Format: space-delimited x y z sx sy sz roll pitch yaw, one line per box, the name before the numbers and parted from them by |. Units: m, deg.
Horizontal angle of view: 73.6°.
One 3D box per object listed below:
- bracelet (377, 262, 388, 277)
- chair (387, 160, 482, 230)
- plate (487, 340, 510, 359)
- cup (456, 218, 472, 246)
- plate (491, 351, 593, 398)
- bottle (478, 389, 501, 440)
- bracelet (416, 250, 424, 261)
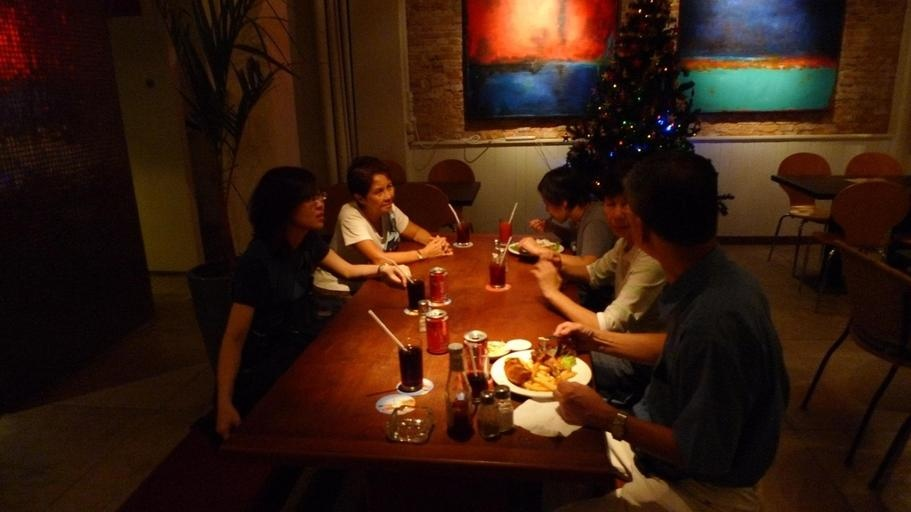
bracelet | -0.557 0.102 4.623 0.072 0.092 0.028 13 55 -24
chair | -0.245 -0.706 6.785 0.886 1.102 0.745 4 41 8
plate | 0.269 0.593 3.861 0.111 0.023 0.104 3 22 11
cup | 0.084 -0.184 5.353 0.210 0.203 0.194 0 8 0
plate | 0.509 0.726 3.664 0.378 0.056 0.356 0 19 2
bottle | 0.194 0.895 3.405 0.125 0.264 0.102 -3 21 -4
bracelet | -0.290 -0.007 4.994 0.057 0.073 0.078 -21 71 -27
